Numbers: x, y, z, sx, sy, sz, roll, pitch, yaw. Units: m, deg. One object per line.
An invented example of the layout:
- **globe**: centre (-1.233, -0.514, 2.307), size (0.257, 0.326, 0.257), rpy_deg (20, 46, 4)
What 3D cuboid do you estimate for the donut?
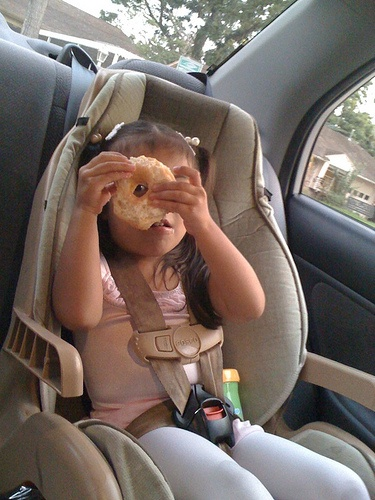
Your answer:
- **donut**: centre (-0.091, -0.093, 0.723), size (0.143, 0.137, 0.044), rpy_deg (1, -5, 7)
